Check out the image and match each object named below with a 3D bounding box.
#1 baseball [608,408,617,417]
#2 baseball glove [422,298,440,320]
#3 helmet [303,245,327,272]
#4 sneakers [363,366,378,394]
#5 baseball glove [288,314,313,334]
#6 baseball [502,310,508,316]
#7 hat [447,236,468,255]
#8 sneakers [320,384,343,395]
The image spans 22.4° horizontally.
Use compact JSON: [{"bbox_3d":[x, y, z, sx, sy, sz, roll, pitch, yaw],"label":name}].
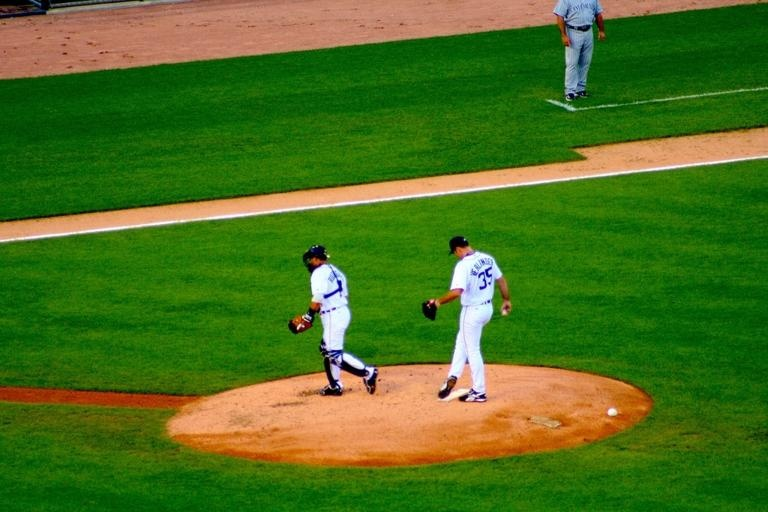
[{"bbox_3d":[4.792,3.251,40.493,0.204,0.132,0.241,0,17,6],"label":"baseball"},{"bbox_3d":[0.947,1.119,40.781,0.438,0.394,0.317,7,-2,3],"label":"baseball glove"},{"bbox_3d":[-1.526,0.009,41.397,0.661,0.527,0.477,-8,11,12],"label":"helmet"},{"bbox_3d":[-0.321,2.622,41.141,0.299,0.575,0.227,-1,19,2],"label":"sneakers"},{"bbox_3d":[-1.801,1.452,41.048,0.489,0.182,0.338,-20,37,-40],"label":"baseball glove"},{"bbox_3d":[2.560,1.209,41.107,0.111,0.084,0.120,-2,18,-7],"label":"baseball"},{"bbox_3d":[1.557,-0.224,41.194,0.348,0.346,0.324,-29,3,44],"label":"hat"},{"bbox_3d":[-1.144,2.841,41.292,0.596,0.218,0.195,1,17,6],"label":"sneakers"}]
